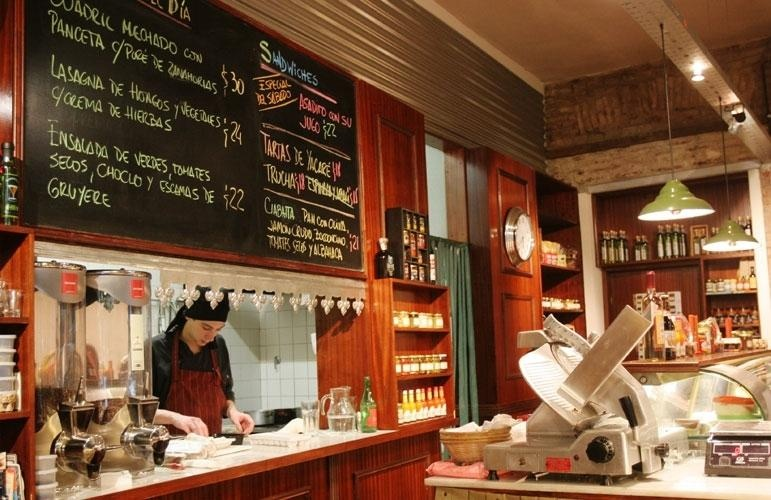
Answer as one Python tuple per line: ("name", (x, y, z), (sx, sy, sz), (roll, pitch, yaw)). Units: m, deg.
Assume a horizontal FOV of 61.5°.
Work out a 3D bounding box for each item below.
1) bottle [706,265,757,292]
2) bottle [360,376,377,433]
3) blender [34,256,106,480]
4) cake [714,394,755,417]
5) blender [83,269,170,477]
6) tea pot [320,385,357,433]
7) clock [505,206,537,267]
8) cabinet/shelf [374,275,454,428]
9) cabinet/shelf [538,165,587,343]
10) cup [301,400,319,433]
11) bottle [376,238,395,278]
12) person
("bottle", (4.289, 0.407, 8.215), (0.213, 0.287, 0.697), (3, -4, -26))
("bottle", (-0.140, 1.173, 4.991), (0.145, 0.416, 0.193), (-2, -11, -2))
("blender", (-1.704, 0.636, 3.452), (0.378, 1.152, 0.211), (6, -14, -34))
("cake", (2.094, 0.931, 3.896), (0.150, 0.074, 0.149), (1, -6, 11))
("blender", (-1.473, 0.684, 3.825), (0.484, 1.153, 0.748), (-5, 6, -41))
("tea pot", (-0.434, 1.182, 4.936), (0.388, 0.366, 0.271), (-2, -5, 5))
("clock", (1.476, -0.144, 7.162), (0.129, 0.645, 0.642), (-9, -14, 33))
("cabinet/shelf", (0.210, 0.860, 5.357), (0.332, 1.315, 1.093), (-9, -14, 28))
("cabinet/shelf", (2.285, 0.091, 8.416), (0.565, 1.942, 0.900), (-5, -12, 14))
("cup", (-0.539, 1.177, 4.610), (0.106, 0.220, 0.071), (2, -12, -18))
("bottle", (-0.013, 0.068, 5.307), (0.135, 0.345, 0.188), (-5, -12, 14))
("person", (-1.669, 1.203, 5.624), (0.945, 1.736, 0.878), (2, 2, -37))
